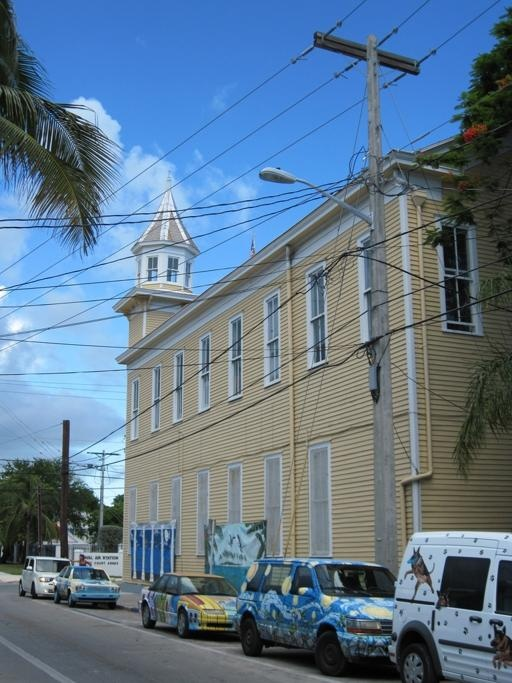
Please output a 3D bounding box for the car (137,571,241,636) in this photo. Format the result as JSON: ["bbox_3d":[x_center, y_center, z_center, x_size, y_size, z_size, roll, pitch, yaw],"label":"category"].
[{"bbox_3d":[-1.103,4.900,17.800,0.998,0.774,2.253,9,-20,-23],"label":"car"}]

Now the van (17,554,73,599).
[{"bbox_3d":[-6.798,7.622,30.923,1.249,1.003,2.052,8,-23,-20],"label":"van"}]

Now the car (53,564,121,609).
[{"bbox_3d":[-4.583,6.720,26.161,1.235,1.189,2.145,6,-17,-24],"label":"car"}]
